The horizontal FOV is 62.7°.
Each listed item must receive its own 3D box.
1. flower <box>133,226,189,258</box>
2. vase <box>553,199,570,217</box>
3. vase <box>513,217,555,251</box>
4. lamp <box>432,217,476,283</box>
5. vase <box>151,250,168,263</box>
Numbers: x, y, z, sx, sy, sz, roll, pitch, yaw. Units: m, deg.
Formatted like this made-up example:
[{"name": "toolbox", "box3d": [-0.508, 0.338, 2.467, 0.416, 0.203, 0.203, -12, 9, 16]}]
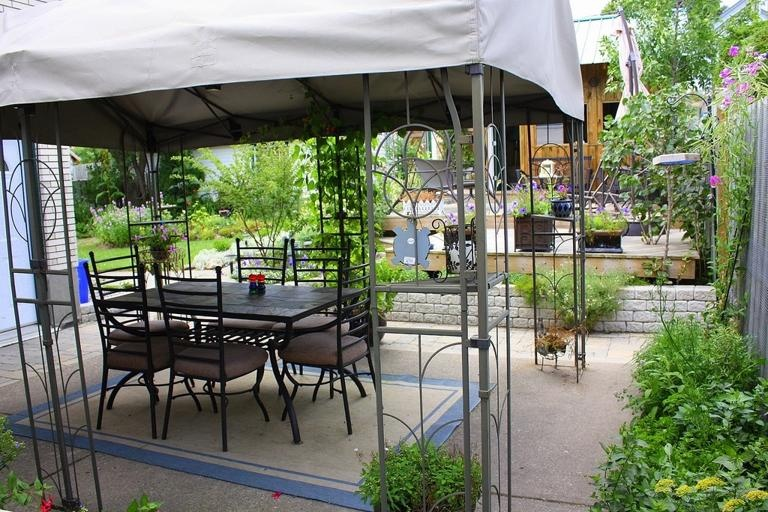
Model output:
[{"name": "flower", "box3d": [-3.084, -0.219, 8.748, 0.541, 0.398, 0.541, 2, -2, -34]}, {"name": "vase", "box3d": [2.086, -0.568, 7.378, 0.202, 0.160, 0.208, 0, 3, 1]}, {"name": "vase", "box3d": [1.928, -0.300, 8.176, 0.579, 0.604, 0.608, -1, 1, 18]}, {"name": "lamp", "box3d": [0.557, -0.036, 4.610, 0.423, 0.406, 0.237, 1, -3, -28]}, {"name": "vase", "box3d": [-2.997, -0.012, 8.403, 0.159, 0.119, 0.164, 0, -2, 17]}]
